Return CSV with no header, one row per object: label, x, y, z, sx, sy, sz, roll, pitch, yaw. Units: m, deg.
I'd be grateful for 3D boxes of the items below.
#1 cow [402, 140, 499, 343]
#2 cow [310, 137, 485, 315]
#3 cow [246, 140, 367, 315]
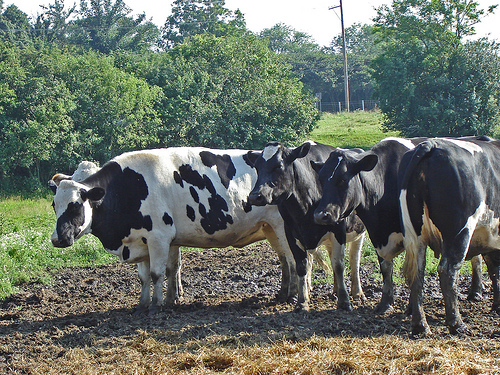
cow,6.342,1.692,29.999,2.922,6.301,1.293,0,3,6
cow,5.555,1.283,32.426,7.928,6.099,2.247,-4,-2,-37
cow,1.389,1.447,32.674,3.741,5.945,4.460,3,12,36
